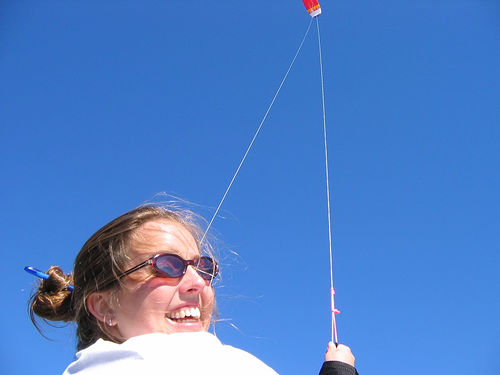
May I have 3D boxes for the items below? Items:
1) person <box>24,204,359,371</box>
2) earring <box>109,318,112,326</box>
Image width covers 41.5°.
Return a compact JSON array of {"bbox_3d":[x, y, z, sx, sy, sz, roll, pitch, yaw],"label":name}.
[{"bbox_3d":[-0.598,0.757,4.863,1.835,1.149,1.387,-12,-19,24],"label":"person"},{"bbox_3d":[-0.984,0.953,4.668,0.023,0.033,0.057,8,-44,1],"label":"earring"}]
